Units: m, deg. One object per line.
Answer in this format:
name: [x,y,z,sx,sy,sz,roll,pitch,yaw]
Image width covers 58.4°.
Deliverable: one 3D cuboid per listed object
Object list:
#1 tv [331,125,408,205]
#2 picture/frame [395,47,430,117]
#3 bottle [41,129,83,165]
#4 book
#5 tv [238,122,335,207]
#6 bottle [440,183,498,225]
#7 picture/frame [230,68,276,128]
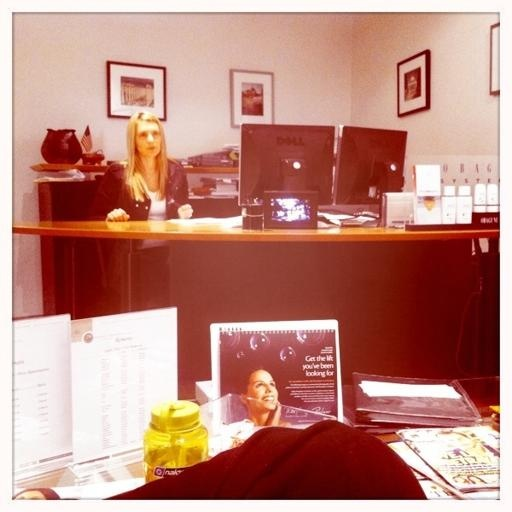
tv: [0.529,-0.421,2.161,0.371,0.358,0.129,-2,13,-23]
picture/frame: [1.234,-1.352,3.635,0.382,0.423,0.021,-23,25,-27]
bottle: [-1.462,-0.814,3.458,0.256,0.276,0.258,-7,15,-31]
book: [0.341,0.368,0.946,0.186,0.093,0.245,1,4,3]
tv: [0.123,-0.376,1.883,0.343,0.346,0.123,0,6,-8]
bottle: [0.717,-0.172,1.511,0.235,0.129,0.159,-6,6,-42]
picture/frame: [-0.031,-1.450,4.229,0.397,0.514,0.020,4,40,6]
